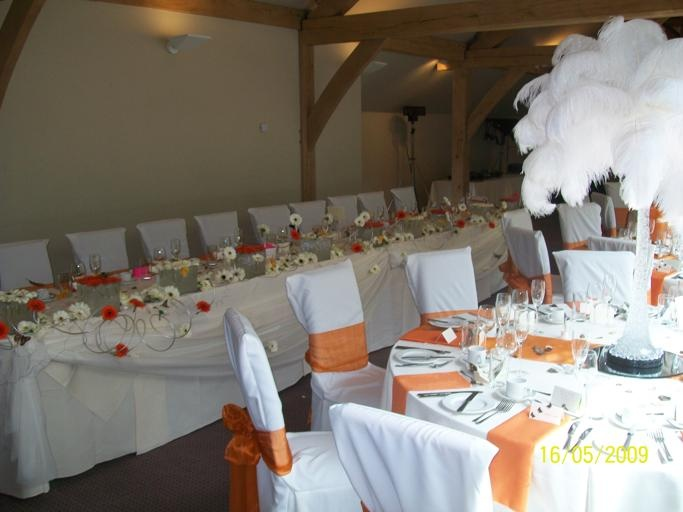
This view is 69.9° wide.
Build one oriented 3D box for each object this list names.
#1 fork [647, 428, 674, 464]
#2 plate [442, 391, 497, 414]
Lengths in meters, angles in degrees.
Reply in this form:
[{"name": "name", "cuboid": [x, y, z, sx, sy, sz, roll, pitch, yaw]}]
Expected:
[{"name": "fork", "cuboid": [1.166, 0.690, 1.773, 0.035, 0.013, 0.134, -15, 14, 11]}, {"name": "plate", "cuboid": [0.546, 0.622, 2.057, 0.255, 0.032, 0.159, -8, 2, -21]}]
